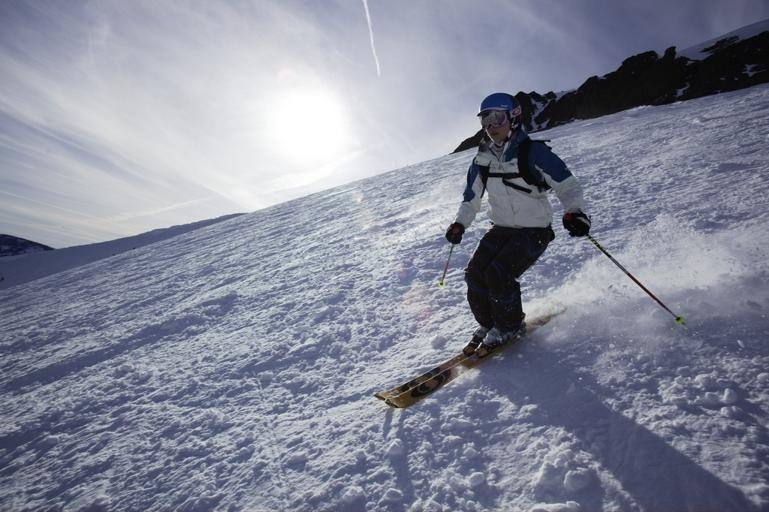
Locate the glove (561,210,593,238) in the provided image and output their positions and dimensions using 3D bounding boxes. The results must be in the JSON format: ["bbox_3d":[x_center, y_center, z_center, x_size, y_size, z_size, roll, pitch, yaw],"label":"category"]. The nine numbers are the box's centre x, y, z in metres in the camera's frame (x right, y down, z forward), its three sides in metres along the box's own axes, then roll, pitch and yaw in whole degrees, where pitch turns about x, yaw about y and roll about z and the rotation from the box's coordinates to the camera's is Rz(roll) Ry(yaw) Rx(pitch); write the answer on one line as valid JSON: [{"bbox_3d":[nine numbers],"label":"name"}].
[{"bbox_3d":[2.946,-0.464,7.606,0.339,0.435,0.475,-17,-14,37],"label":"glove"}]

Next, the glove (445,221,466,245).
[{"bbox_3d":[1.210,-0.381,8.272,0.382,0.309,0.143,-66,-22,2],"label":"glove"}]
